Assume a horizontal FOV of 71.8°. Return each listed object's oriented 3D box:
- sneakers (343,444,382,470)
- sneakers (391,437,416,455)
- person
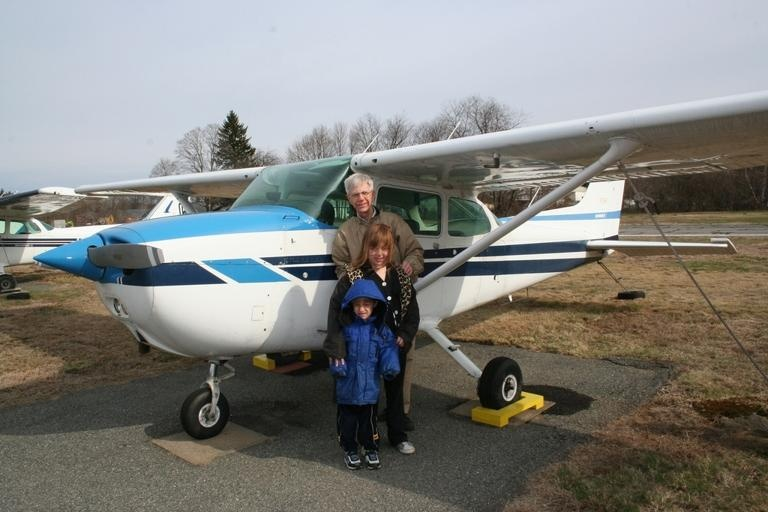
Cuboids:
[{"bbox_3d":[-0.208,1.800,4.725,0.312,0.097,0.161,-4,0,30],"label":"sneakers"},{"bbox_3d":[0.188,1.782,4.973,0.122,0.060,0.206,-1,-5,-35],"label":"sneakers"},{"bbox_3d":[-0.071,0.530,4.947,0.861,2.554,1.116,0,17,3],"label":"person"}]
